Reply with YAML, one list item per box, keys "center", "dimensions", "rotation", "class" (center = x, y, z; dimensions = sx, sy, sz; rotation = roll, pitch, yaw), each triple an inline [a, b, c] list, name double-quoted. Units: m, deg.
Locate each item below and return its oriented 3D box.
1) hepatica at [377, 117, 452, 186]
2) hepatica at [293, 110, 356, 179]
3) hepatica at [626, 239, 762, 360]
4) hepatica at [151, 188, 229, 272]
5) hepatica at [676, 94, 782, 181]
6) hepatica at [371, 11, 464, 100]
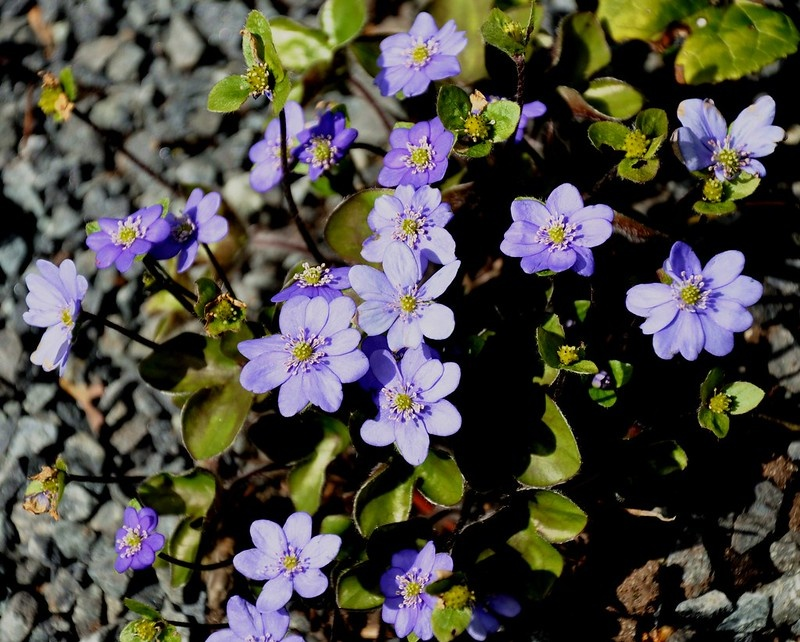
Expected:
- center: [0.066, -0.566, 3.114]
  dimensions: [0.248, 0.080, 0.257]
  rotation: [29, 96, 44]
  class: "hepatica"
- center: [-0.253, -0.632, 3.307]
  dimensions: [0.235, 0.086, 0.252]
  rotation: [31, 92, 39]
  class: "hepatica"
- center: [0.986, -0.059, 2.888]
  dimensions: [0.408, 0.207, 0.302]
  rotation: [-35, 57, -1]
  class: "hepatica"
- center: [-0.748, -0.294, 3.204]
  dimensions: [0.283, 0.087, 0.288]
  rotation: [-32, 56, 12]
  class: "hepatica"
- center: [1.134, -0.633, 3.000]
  dimensions: [0.340, 0.153, 0.268]
  rotation: [-7, 61, 17]
  class: "hepatica"
- center: [0.069, -0.968, 3.196]
  dimensions: [0.360, 0.120, 0.308]
  rotation: [10, 67, 25]
  class: "hepatica"
